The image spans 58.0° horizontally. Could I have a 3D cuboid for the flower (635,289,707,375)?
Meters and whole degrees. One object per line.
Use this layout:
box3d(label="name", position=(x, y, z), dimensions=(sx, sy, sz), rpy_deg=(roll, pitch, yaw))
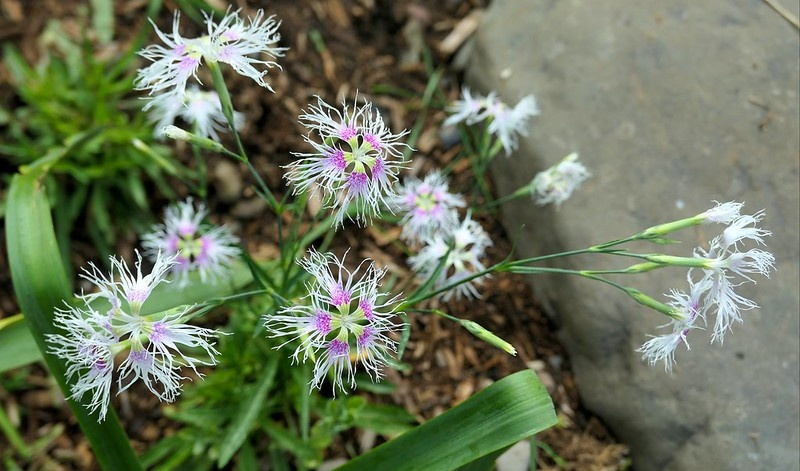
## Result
box3d(label="flower", position=(0.926, 0.356, 2.510), dimensions=(0.122, 0.355, 0.260), rpy_deg=(4, 55, 9))

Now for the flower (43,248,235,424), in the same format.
box3d(label="flower", position=(-0.913, 0.367, 2.599), dimensions=(0.608, 0.235, 0.647), rpy_deg=(17, 85, 2))

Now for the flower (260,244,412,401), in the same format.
box3d(label="flower", position=(-0.183, 0.306, 2.424), dimensions=(0.370, 0.105, 0.371), rpy_deg=(57, 30, -4))

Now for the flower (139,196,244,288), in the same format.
box3d(label="flower", position=(-0.821, 0.016, 2.966), dimensions=(0.400, 0.133, 0.417), rpy_deg=(2, 70, -7))

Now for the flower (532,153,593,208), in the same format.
box3d(label="flower", position=(0.606, -0.204, 2.776), dimensions=(0.179, 0.218, 0.095), rpy_deg=(23, 50, -19))
